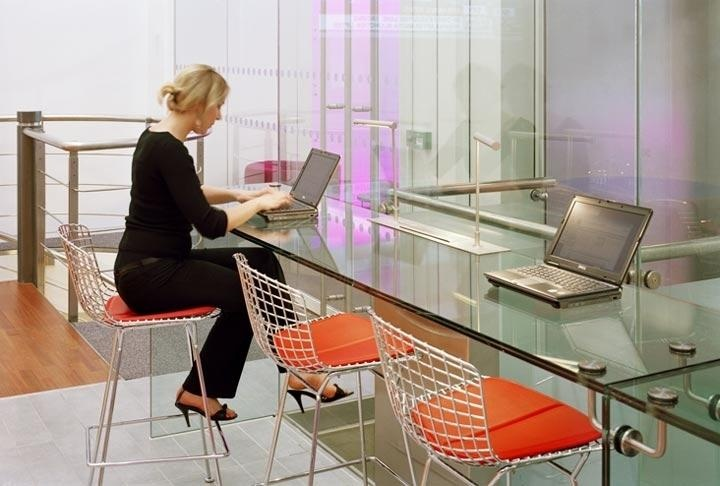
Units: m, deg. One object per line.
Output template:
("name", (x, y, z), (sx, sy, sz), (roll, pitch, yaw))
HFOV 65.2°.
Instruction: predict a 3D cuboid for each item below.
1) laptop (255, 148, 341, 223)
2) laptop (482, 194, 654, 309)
("laptop", (-0.301, -0.296, 2.872), (0.370, 0.303, 0.403), (-11, 19, -21))
("laptop", (0.653, 0.038, 1.785), (0.400, 0.277, 0.392), (-6, 14, -25))
